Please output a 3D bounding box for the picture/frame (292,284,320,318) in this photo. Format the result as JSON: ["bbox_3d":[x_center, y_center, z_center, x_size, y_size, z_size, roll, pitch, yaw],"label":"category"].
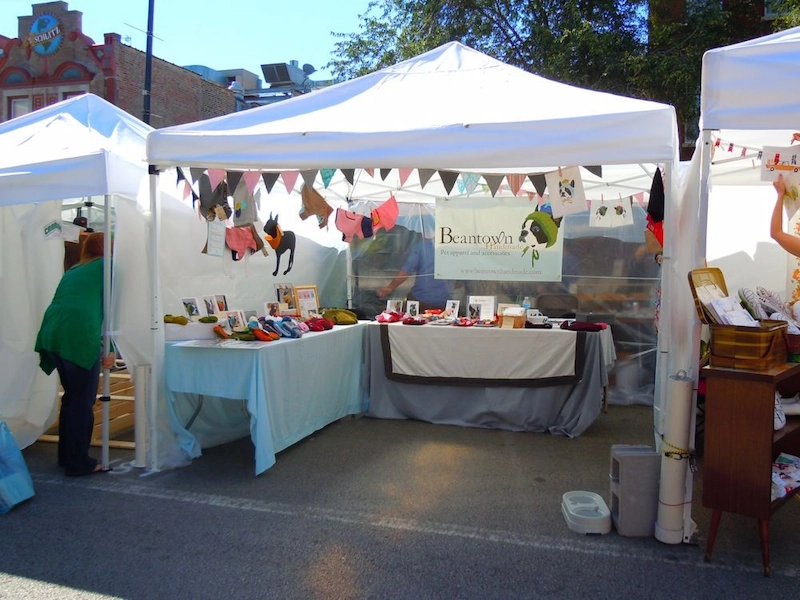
[{"bbox_3d":[-0.918,0.023,6.001,0.028,0.374,0.305,-11,-5,35],"label":"picture/frame"}]

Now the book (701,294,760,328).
[{"bbox_3d":[1.849,0.069,3.487,0.198,0.074,0.208,5,49,-19],"label":"book"}]

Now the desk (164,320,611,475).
[{"bbox_3d":[0.007,0.716,5.583,3.692,1.008,1.348,-3,9,-20],"label":"desk"}]

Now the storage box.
[{"bbox_3d":[1.965,0.093,3.586,0.472,0.547,0.544,7,11,38],"label":"storage box"}]

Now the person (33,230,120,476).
[{"bbox_3d":[-2.450,0.395,4.671,0.507,1.769,0.499,-5,10,-30],"label":"person"}]
